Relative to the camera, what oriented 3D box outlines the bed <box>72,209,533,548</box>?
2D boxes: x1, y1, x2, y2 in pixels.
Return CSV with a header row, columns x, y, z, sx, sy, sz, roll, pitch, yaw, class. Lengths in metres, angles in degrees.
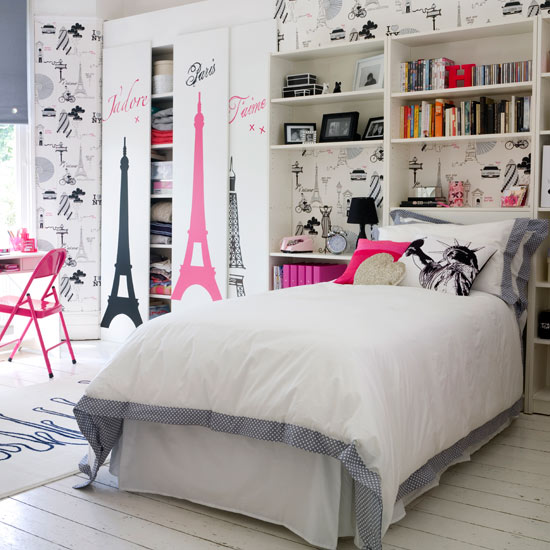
x,y,z,sx,sy,sz,roll,pitch,yaw,class
0.317,0.329,2.087,0.820,0.692,1.269,1,3,37,bed
